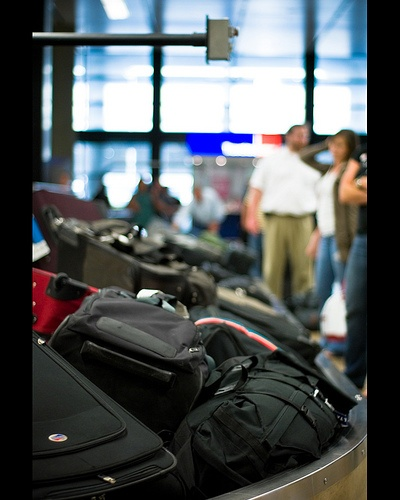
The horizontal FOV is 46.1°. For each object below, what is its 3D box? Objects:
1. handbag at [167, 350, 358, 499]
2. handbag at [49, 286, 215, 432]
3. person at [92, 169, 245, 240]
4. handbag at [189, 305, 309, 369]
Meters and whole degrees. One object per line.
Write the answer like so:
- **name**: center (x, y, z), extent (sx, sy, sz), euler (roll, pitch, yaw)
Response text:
- **handbag**: center (0.116, 0.321, 0.868), extent (0.205, 0.126, 0.363), euler (18, 5, 17)
- **handbag**: center (-0.137, 0.198, 0.911), extent (0.223, 0.104, 0.289), euler (36, 4, -31)
- **person**: center (-0.123, -0.270, 3.432), extent (0.737, 0.248, 0.435), euler (14, 2, -9)
- **handbag**: center (0.121, 0.166, 1.283), extent (0.225, 0.161, 0.240), euler (24, 16, 35)
